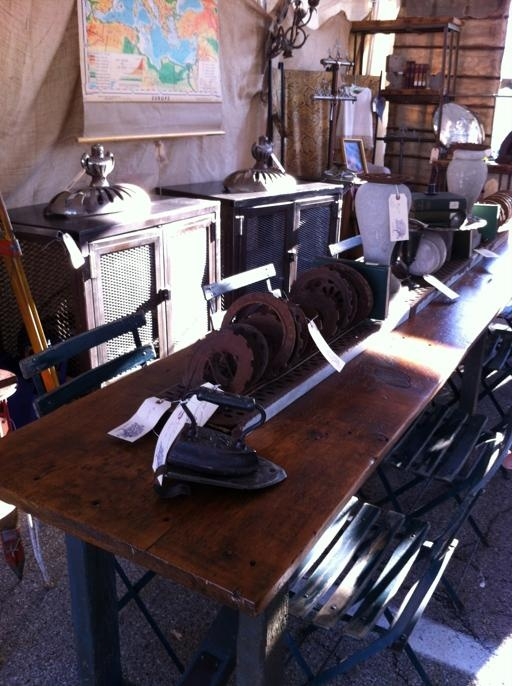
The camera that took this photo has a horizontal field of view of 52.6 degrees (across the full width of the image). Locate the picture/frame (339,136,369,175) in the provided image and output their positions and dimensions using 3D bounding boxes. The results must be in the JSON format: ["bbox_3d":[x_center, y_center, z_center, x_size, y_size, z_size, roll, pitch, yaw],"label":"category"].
[{"bbox_3d":[0.966,-1.831,5.070,0.284,0.285,0.672,7,26,9],"label":"picture/frame"}]

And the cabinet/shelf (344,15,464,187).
[{"bbox_3d":[1.563,-2.551,5.683,1.060,1.661,1.558,9,27,15],"label":"cabinet/shelf"}]

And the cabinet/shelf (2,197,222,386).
[{"bbox_3d":[-0.664,-0.238,2.238,0.471,0.693,0.769,19,32,30],"label":"cabinet/shelf"}]

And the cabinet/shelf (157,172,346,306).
[{"bbox_3d":[-0.073,-0.611,2.991,0.536,0.824,0.903,21,35,34],"label":"cabinet/shelf"}]
